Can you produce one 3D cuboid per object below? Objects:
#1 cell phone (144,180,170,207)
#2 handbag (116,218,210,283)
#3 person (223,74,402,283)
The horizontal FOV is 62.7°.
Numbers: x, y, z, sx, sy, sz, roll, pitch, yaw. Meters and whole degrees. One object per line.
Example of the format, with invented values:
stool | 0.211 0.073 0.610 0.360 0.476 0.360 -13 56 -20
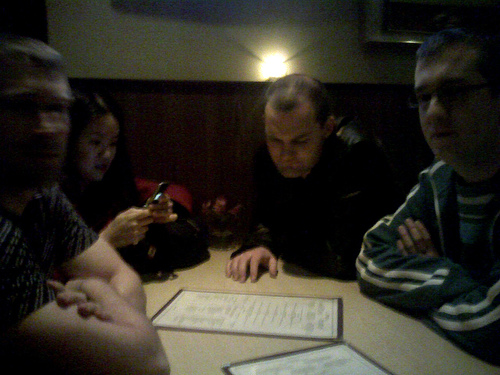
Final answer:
cell phone | -0.326 0.024 1.398 0.013 0.121 0.096 44 24 10
handbag | -0.306 0.190 1.603 0.410 0.123 0.269 -10 23 8
person | 0.226 -0.033 1.662 0.537 0.694 0.794 8 20 45
